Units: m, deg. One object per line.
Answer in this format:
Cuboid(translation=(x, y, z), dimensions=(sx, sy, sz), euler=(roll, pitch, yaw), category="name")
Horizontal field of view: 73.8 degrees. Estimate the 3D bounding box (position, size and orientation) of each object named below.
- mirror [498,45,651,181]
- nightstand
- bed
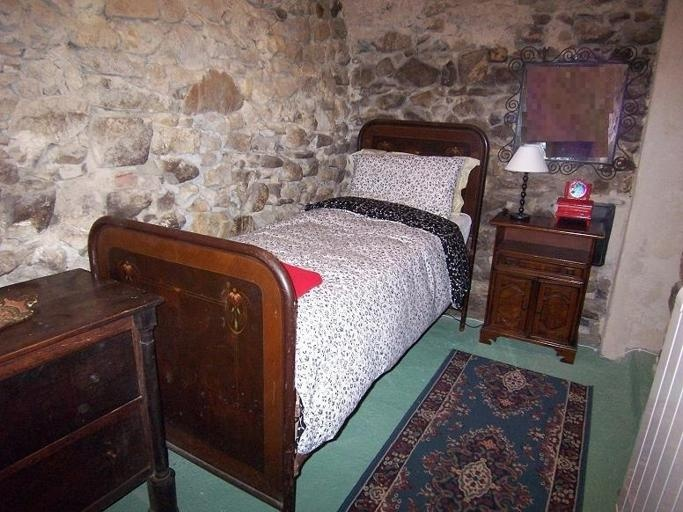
Cuboid(translation=(1.640, -1.014, 3.244), dimensions=(0.959, 0.953, 0.043), euler=(3, 12, 3), category="mirror")
Cuboid(translation=(1.479, 0.196, 3.392), dimensions=(0.776, 0.992, 0.589), euler=(13, 23, 34), category="nightstand")
Cuboid(translation=(-0.295, -0.228, 3.215), dimensions=(1.531, 1.845, 2.785), euler=(13, 23, 27), category="bed")
